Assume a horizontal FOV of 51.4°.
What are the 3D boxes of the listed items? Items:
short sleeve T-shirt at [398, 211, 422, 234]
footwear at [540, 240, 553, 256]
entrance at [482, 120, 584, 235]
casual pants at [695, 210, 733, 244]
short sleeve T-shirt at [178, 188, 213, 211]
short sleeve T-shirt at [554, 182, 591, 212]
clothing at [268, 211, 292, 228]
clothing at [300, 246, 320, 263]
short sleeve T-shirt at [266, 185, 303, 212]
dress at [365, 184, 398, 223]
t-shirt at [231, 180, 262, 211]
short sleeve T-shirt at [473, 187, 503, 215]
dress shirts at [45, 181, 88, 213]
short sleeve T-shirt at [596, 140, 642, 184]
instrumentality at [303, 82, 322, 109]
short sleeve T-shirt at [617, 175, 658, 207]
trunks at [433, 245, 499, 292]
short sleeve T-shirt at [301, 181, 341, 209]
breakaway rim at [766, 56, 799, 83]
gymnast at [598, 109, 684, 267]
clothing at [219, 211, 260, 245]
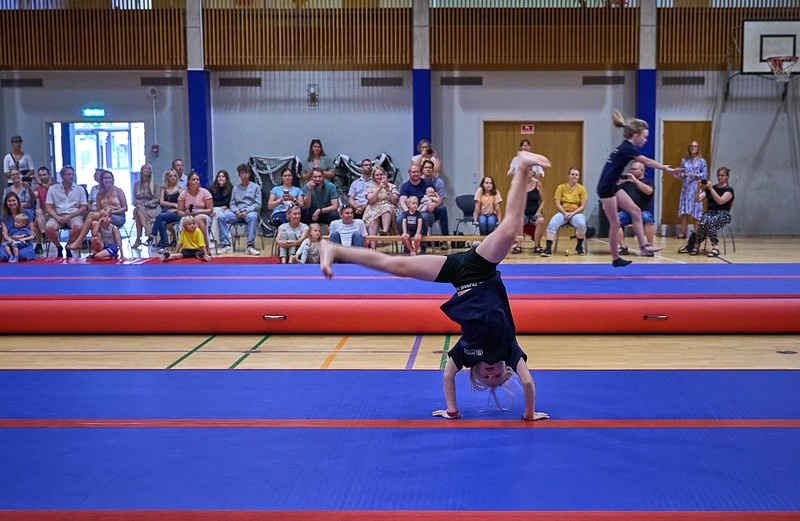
[{"bbox_3d":[0.206,-0.537,12.106,0.362,0.482,0.270,1,1,2],"label":"short sleeve T-shirt"},{"bbox_3d":[2.152,-0.178,12.080,0.122,0.280,0.283,3,-3,29],"label":"footwear"},{"bbox_3d":[2.385,-1.579,15.702,2.108,2.603,0.220,0,42,8],"label":"entrance"},{"bbox_3d":[4.505,-0.492,11.975,0.407,0.477,0.368,2,9,20],"label":"casual pants"},{"bbox_3d":[-3.171,-0.952,12.870,0.585,0.484,0.315,0,-4,-6],"label":"short sleeve T-shirt"},{"bbox_3d":[2.556,-0.973,12.502,0.653,0.652,0.364,0,-1,6],"label":"short sleeve T-shirt"},{"bbox_3d":[-1.852,-0.604,12.752,0.198,0.292,0.104,4,-26,17],"label":"clothing"},{"bbox_3d":[-1.176,-0.106,10.957,0.261,0.228,0.134,3,9,29],"label":"clothing"},{"bbox_3d":[-1.824,-0.985,12.963,0.616,0.632,0.373,0,-17,-2],"label":"short sleeve T-shirt"},{"bbox_3d":[-0.299,-0.853,12.322,0.399,0.657,0.627,1,-2,-1],"label":"dress"},{"bbox_3d":[-2.397,-0.978,13.123,0.538,0.573,0.411,1,0,1],"label":"t-shirt"},{"bbox_3d":[1.310,-0.867,12.723,0.496,0.617,0.327,0,-2,0],"label":"short sleeve T-shirt"},{"bbox_3d":[-5.018,-0.930,12.597,0.762,0.624,0.401,-1,-2,-16],"label":"dress shirts"},{"bbox_3d":[2.430,-1.016,9.182,0.342,0.573,0.348,12,-18,22],"label":"short sleeve T-shirt"},{"bbox_3d":[-1.573,-3.049,15.118,0.314,0.625,0.311,-1,9,2],"label":"instrumentality"},{"bbox_3d":[3.480,-0.987,12.278,0.475,0.637,0.406,-1,4,20],"label":"short sleeve T-shirt"},{"bbox_3d":[0.527,0.067,6.586,0.369,0.169,0.383,-6,-27,-12],"label":"trunks"},{"bbox_3d":[-1.215,-0.969,12.595,0.585,0.496,0.376,-3,-3,5],"label":"short sleeve T-shirt"},{"bbox_3d":[6.576,-3.310,14.322,0.398,0.309,0.410,-1,2,2],"label":"breakaway rim"},{"bbox_3d":[2.665,-0.796,9.137,0.942,1.706,0.671,0,10,10],"label":"gymnast"},{"bbox_3d":[-2.495,-0.512,12.893,0.591,0.650,0.664,-2,-5,-7],"label":"clothing"}]
